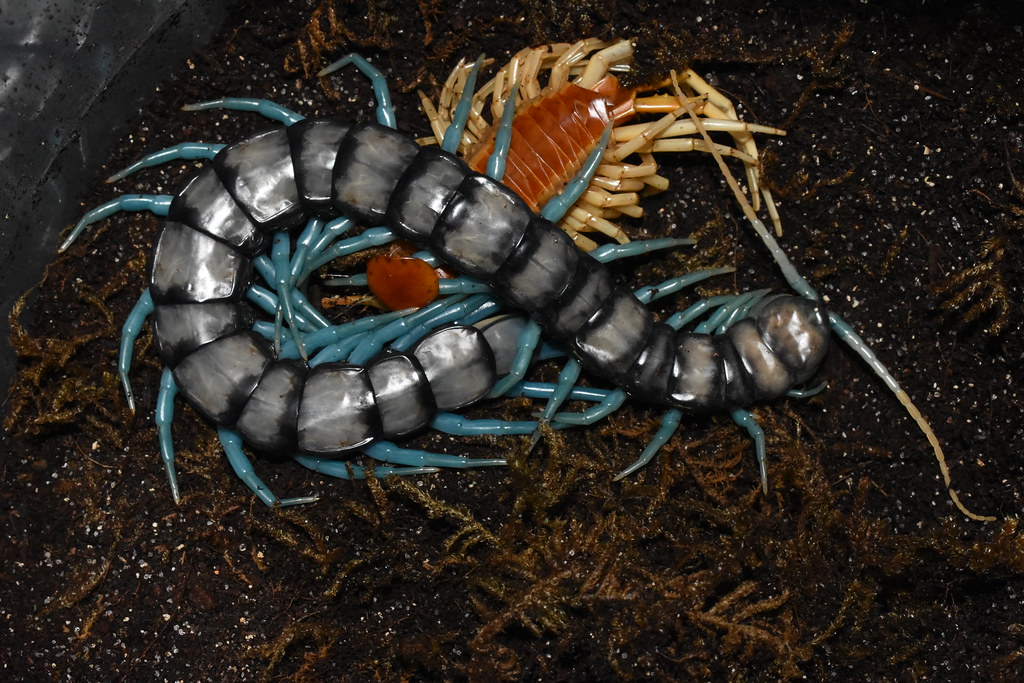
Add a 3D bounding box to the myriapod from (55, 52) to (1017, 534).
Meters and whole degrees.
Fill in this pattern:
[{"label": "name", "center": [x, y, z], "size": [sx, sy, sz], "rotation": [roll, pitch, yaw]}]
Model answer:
[{"label": "myriapod", "center": [-0.303, -0.249, 4.899], "size": [2.989, 0.444, 1.750], "rotation": [-2, 82, -2]}]
